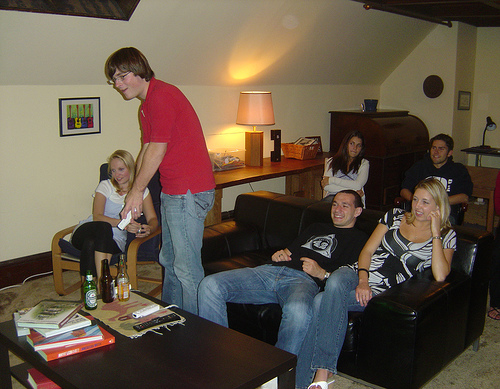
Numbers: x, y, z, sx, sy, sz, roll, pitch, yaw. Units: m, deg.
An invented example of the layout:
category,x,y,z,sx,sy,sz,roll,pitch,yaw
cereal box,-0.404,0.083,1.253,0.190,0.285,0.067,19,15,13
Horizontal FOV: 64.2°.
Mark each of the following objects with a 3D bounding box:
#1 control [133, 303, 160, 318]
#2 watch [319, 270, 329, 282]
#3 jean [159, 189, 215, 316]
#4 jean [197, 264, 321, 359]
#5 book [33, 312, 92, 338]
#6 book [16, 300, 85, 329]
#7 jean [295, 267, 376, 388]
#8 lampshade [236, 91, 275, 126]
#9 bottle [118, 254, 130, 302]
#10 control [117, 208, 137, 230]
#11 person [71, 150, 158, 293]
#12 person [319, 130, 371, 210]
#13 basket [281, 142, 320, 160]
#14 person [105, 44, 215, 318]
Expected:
category,x,y,z,sx,sy,sz,roll,pitch,yaw
control,-0.543,0.609,2.088,0.046,0.030,0.105,13,18,39
watch,0.467,0.504,2.490,0.025,0.066,0.046,5,0,22
jean,-0.408,0.357,2.537,0.258,0.842,0.414,-10,12,-38
jean,0.091,0.595,2.395,0.558,0.415,0.457,3,3,31
book,-0.900,0.636,1.969,0.271,0.048,0.289,1,0,-20
book,-0.991,0.604,1.999,0.222,0.052,0.242,2,7,6
jean,0.504,0.727,2.321,0.342,0.735,0.207,10,-11,33
lampshade,0.056,-0.932,4.659,0.469,0.524,0.491,0,19,-2
bottle,-0.727,0.454,2.277,0.059,0.249,0.187,-5,10,-16
control,-0.718,0.138,2.288,0.084,0.103,0.068,-8,11,-28
person,-1.147,0.195,3.165,0.578,1.098,0.600,7,3,18
person,0.963,-0.215,3.962,0.557,0.841,0.524,-4,11,-33
basket,0.606,-0.595,5.089,0.258,0.149,0.318,-9,12,-42
person,-0.517,0.024,2.468,0.557,1.753,0.580,1,10,7
